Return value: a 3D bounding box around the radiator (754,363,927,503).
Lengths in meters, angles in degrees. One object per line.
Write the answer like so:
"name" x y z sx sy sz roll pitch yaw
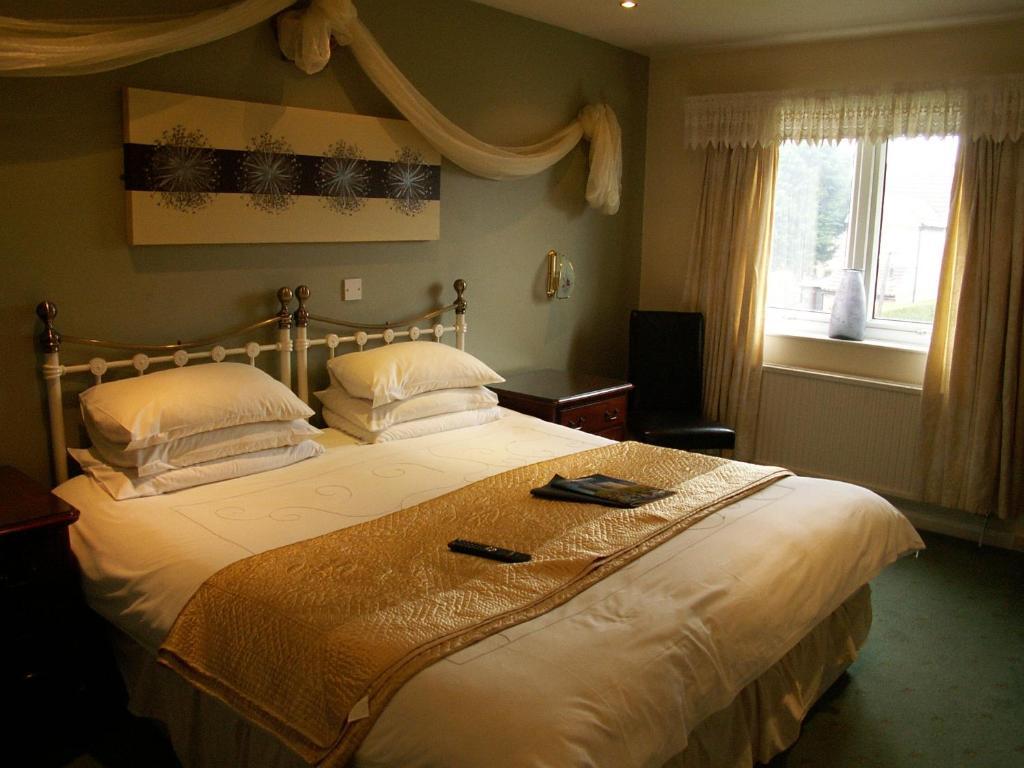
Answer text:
"radiator" 2.025 0.283 4.528 0.796 0.484 0.103 11 16 40

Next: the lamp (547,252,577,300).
"lamp" 0.311 -0.717 4.945 0.190 0.364 0.259 8 14 34
